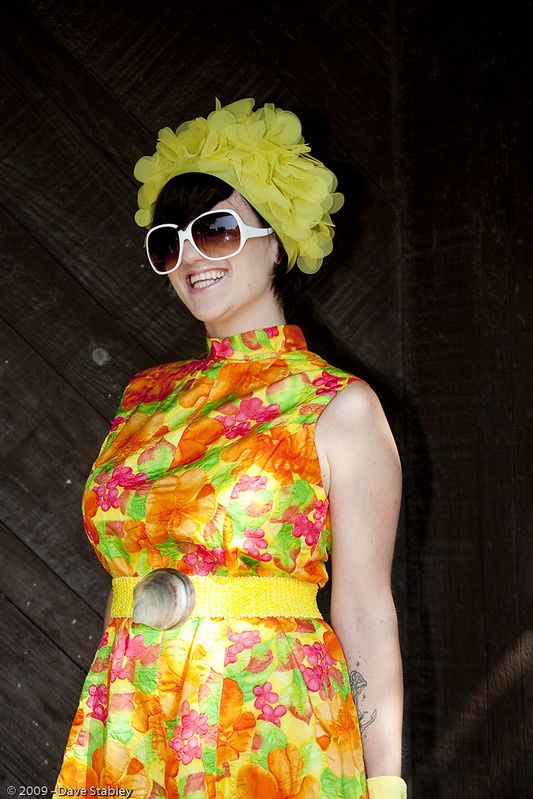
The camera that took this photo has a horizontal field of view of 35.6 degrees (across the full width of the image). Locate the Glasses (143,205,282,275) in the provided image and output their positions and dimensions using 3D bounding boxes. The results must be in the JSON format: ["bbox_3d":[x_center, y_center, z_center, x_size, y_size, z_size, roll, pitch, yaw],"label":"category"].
[{"bbox_3d":[-0.096,-0.213,1.117,0.113,0.040,0.113,-7,-9,20],"label":"Glasses"}]
